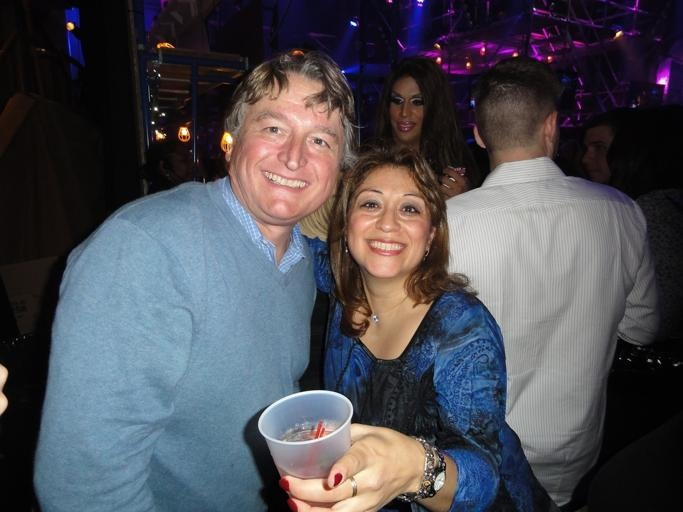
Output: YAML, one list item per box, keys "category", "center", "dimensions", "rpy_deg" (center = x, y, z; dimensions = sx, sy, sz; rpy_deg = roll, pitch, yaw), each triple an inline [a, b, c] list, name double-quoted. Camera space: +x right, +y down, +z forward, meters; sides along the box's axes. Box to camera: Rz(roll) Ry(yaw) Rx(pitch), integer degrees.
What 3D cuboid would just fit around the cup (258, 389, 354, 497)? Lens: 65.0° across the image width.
- category: "cup"
  center: [-0.145, 0.720, 2.245]
  dimensions: [0.355, 0.277, 0.347]
  rpy_deg: [-5, 24, 2]
